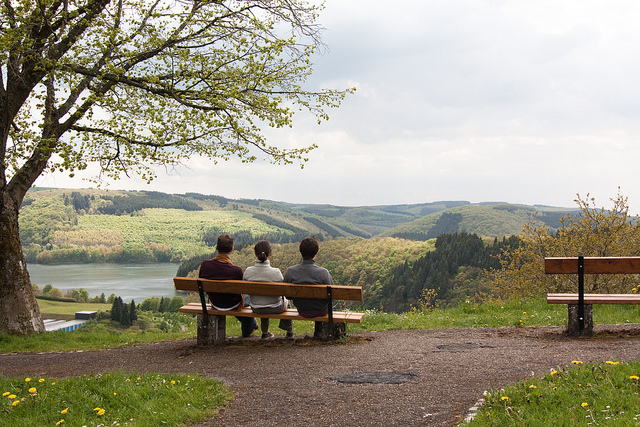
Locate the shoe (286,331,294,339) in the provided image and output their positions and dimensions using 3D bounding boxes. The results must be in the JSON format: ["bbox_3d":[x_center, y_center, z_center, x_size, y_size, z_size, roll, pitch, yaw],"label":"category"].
[{"bbox_3d":[-0.763,3.018,16.641,0.190,0.181,0.112,-2,-2,13],"label":"shoe"}]

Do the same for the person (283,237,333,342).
[{"bbox_3d":[-0.273,1.812,16.108,1.099,2.504,0.846,0,-3,1],"label":"person"}]

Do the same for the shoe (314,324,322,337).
[{"bbox_3d":[-0.048,2.867,16.463,0.189,0.289,0.273,0,-4,1],"label":"shoe"}]
